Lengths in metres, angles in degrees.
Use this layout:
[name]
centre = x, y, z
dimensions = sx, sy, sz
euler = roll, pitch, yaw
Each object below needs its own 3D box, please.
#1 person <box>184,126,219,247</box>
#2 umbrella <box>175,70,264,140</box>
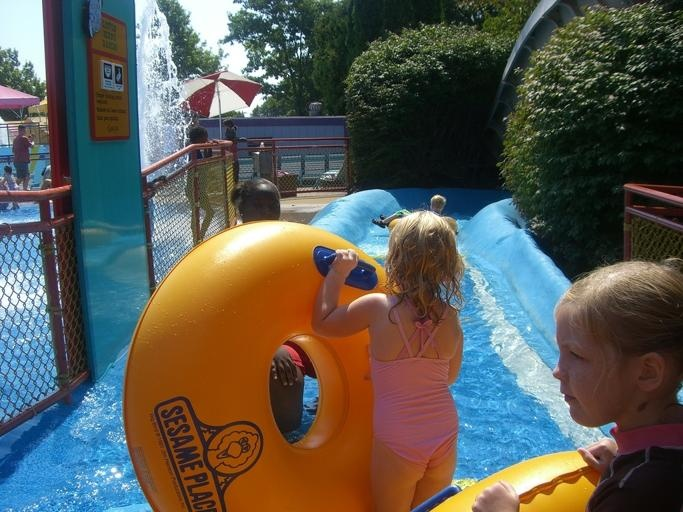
[person]
centre = -1.655, -1.076, 6.324
dimensions = 0.366, 1.574, 0.405
euler = 0, 17, -5
[umbrella]
centre = -3.403, -5.290, 15.020
dimensions = 2.008, 1.955, 1.136
euler = -2, 16, -15
